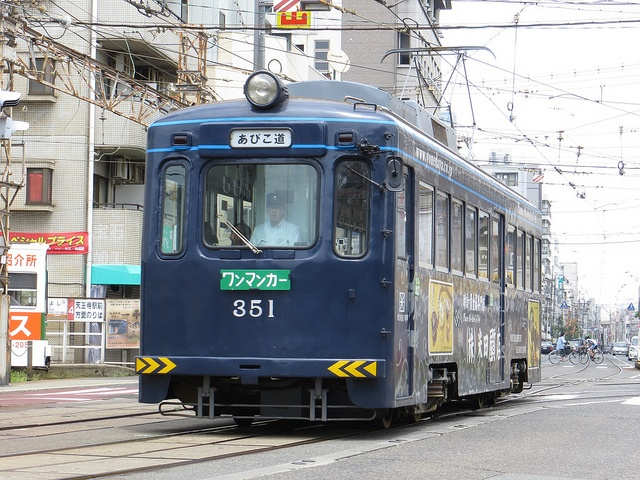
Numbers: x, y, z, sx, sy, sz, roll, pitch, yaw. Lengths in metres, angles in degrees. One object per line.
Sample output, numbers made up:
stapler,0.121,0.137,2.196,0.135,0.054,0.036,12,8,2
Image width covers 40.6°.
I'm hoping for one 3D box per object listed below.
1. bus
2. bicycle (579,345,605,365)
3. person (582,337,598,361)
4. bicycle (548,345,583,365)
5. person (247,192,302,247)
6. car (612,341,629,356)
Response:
bus,0.832,0.169,11.605,6.023,4.543,2.446,9,-12,-43
bicycle,13.744,5.876,44.196,1.463,0.980,0.766,0,0,-7
person,14.006,5.669,45.346,0.879,1.162,1.886,-3,-10,19
bicycle,12.499,6.096,45.329,1.404,0.921,0.665,-2,-1,1
person,-0.527,-0.182,10.199,0.678,0.737,0.408,3,1,13
car,29.534,10.857,85.629,1.371,1.124,2.478,1,5,7
